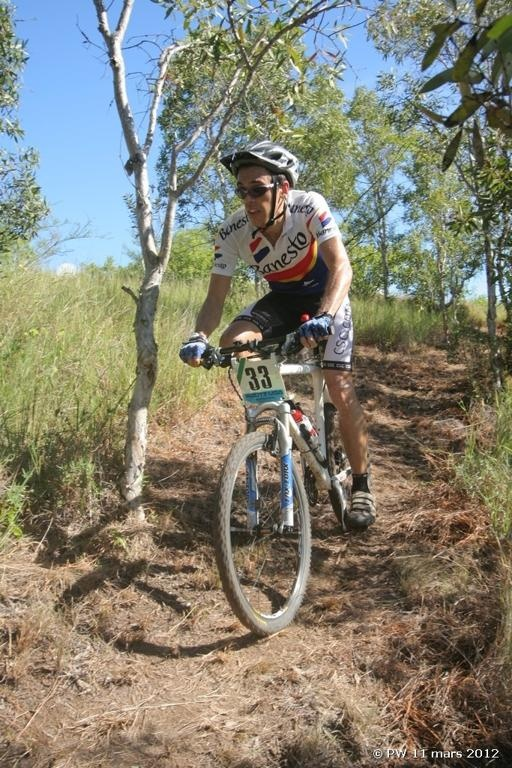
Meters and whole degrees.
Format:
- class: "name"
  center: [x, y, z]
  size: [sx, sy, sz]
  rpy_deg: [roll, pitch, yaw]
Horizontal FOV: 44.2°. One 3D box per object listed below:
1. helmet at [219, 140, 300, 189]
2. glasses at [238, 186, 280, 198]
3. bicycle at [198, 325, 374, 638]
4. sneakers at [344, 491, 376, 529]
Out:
- class: "helmet"
  center: [0.036, -1.056, 3.010]
  size: [0.283, 0.142, 0.199]
  rpy_deg: [9, -2, -36]
- class: "glasses"
  center: [0.008, -0.910, 2.995]
  size: [0.177, 0.065, 0.076]
  rpy_deg: [-2, 11, 1]
- class: "bicycle"
  center: [0.105, 0.342, 2.982]
  size: [0.628, 1.376, 1.355]
  rpy_deg: [0, 11, 12]
- class: "sneakers"
  center: [0.557, 0.679, 3.398]
  size: [0.133, 0.166, 0.379]
  rpy_deg: [-2, -14, 10]
